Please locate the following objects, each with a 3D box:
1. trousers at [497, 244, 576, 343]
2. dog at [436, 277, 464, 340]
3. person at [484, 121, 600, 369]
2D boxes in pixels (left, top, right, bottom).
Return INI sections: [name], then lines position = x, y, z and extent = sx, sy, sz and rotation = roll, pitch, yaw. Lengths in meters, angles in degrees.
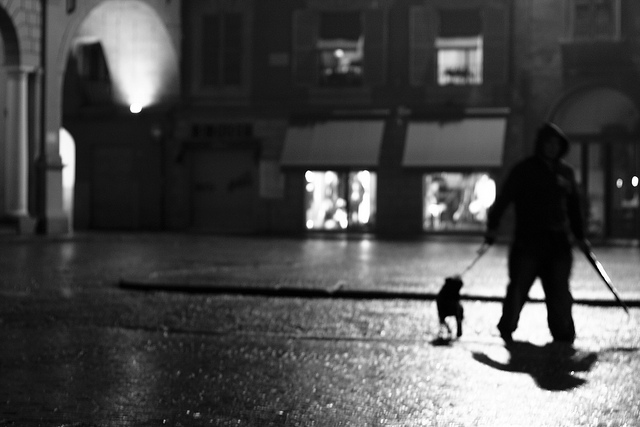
[trousers]
position = 2.096, 0.701, 9.045
extent = 0.802, 1.341, 0.411
rotation = 1, 39, 14
[dog]
position = 1.327, 0.953, 9.377
extent = 0.247, 0.650, 0.354
rotation = 1, 4, 9
[person]
position = 2.163, 0.237, 8.925
extent = 1.019, 2.206, 0.510
rotation = 1, 4, 10
